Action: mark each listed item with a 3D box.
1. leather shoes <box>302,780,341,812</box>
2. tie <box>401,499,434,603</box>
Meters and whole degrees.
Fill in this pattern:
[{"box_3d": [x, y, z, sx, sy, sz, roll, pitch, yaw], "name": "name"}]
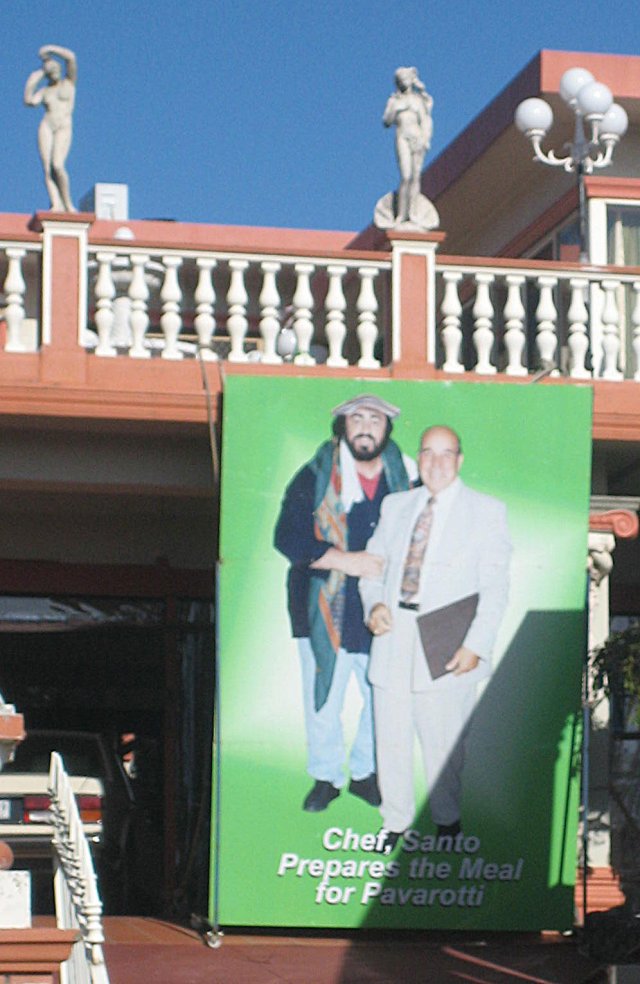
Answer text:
[{"box_3d": [-0.019, 2.244, 18.693, 0.299, 0.196, 0.157, 2, -4, -41], "name": "leather shoes"}, {"box_3d": [0.726, 0.459, 19.149, 0.143, 0.946, 0.103, 13, -12, 0], "name": "tie"}]
